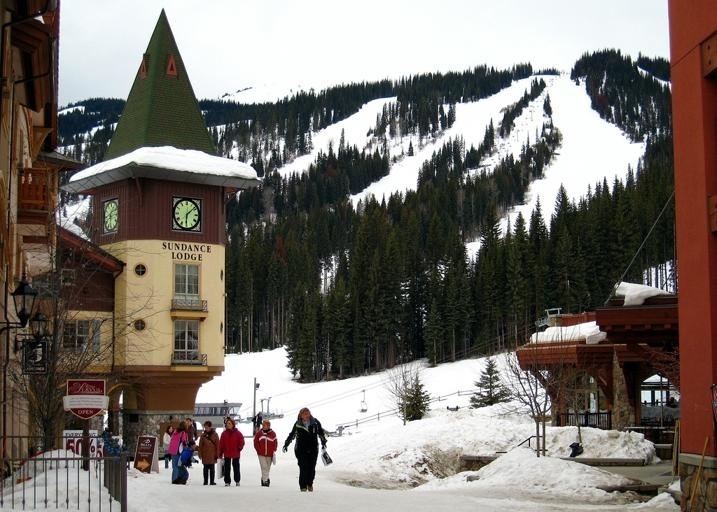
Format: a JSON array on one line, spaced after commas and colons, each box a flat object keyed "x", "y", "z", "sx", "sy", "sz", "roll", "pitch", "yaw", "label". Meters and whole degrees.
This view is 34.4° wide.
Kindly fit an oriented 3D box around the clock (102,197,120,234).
[{"x": -12.735, "y": -2.073, "z": 59.626, "sx": 0.140, "sy": 1.422, "sz": 1.394, "roll": 5, "pitch": -16, "yaw": -29, "label": "clock"}]

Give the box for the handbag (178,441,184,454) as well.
[{"x": -6.596, "y": 7.008, "z": 42.978, "sx": 0.184, "sy": 0.329, "sz": 0.101, "roll": -1, "pitch": -10, "yaw": -15, "label": "handbag"}]

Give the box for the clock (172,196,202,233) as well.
[{"x": -8.847, "y": -2.100, "z": 59.199, "sx": 1.542, "sy": 2.035, "sz": 0.133, "roll": -1, "pitch": -3, "yaw": -32, "label": "clock"}]

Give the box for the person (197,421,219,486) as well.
[{"x": -5.519, "y": 7.189, "z": 42.765, "sx": 0.703, "sy": 2.297, "sz": 1.126, "roll": -1, "pitch": -10, "yaw": -8, "label": "person"}]

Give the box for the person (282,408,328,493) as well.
[{"x": -1.803, "y": 6.545, "z": 39.970, "sx": 1.297, "sy": 3.040, "sz": 1.117, "roll": -6, "pitch": 16, "yaw": -17, "label": "person"}]

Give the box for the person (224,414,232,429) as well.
[{"x": -4.608, "y": 5.828, "z": 41.240, "sx": 0.276, "sy": 0.427, "sz": 0.725, "roll": -2, "pitch": -12, "yaw": -8, "label": "person"}]
